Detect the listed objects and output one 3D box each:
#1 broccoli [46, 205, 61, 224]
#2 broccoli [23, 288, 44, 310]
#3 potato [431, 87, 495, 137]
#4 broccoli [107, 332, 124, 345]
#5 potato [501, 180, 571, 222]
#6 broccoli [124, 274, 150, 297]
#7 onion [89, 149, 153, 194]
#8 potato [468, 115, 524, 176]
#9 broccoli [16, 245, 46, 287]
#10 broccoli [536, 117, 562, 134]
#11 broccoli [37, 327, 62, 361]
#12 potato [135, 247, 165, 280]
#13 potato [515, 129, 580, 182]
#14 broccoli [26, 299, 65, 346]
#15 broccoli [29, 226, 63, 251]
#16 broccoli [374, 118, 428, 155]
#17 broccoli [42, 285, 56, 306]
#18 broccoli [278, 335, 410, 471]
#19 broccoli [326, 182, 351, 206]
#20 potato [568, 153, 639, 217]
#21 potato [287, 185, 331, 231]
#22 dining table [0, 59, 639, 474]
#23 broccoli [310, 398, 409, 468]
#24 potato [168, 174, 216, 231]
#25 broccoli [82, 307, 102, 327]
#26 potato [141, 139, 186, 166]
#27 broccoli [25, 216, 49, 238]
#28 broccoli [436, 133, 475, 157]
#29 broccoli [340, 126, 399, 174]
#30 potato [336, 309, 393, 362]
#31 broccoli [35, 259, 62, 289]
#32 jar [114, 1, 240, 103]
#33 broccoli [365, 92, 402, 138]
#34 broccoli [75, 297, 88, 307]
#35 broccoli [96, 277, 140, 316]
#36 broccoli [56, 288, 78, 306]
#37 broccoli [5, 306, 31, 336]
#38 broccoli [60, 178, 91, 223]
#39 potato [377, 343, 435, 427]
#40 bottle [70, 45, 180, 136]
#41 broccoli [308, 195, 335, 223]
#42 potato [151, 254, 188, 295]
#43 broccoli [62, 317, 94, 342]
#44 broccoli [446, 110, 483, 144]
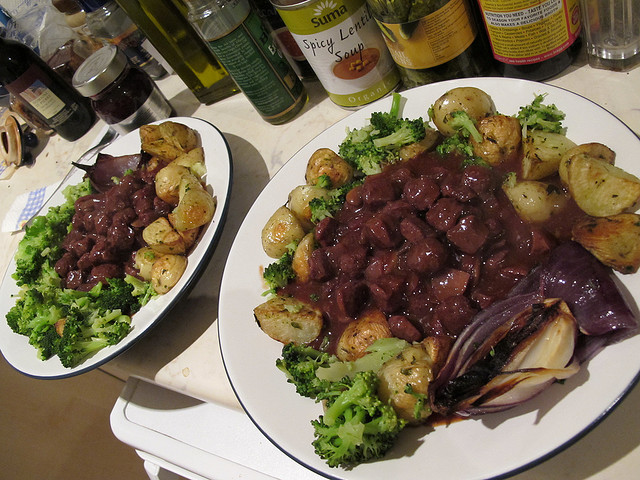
[{"bbox_3d":[-1.415,-0.137,2.827,0.054,0.022,0.094,-3,72,5],"label":"broccoli"},{"bbox_3d":[-1.325,0.272,2.491,0.086,0.026,0.085,31,58,17],"label":"broccoli"},{"bbox_3d":[0.546,-0.505,2.117,0.245,0.205,0.142,-23,97,-16],"label":"potato"},{"bbox_3d":[-0.845,0.405,2.203,0.039,0.015,0.039,-38,25,-2],"label":"broccoli"},{"bbox_3d":[0.741,-0.133,1.830,0.161,0.101,0.135,25,97,-1],"label":"potato"},{"bbox_3d":[-0.810,0.186,2.351,0.093,0.028,0.097,-24,100,4],"label":"broccoli"},{"bbox_3d":[-1.059,-0.419,2.853,0.172,0.249,0.066,-29,78,43],"label":"onion"},{"bbox_3d":[0.665,-0.401,2.019,0.220,0.135,0.178,15,32,29],"label":"potato"},{"bbox_3d":[-1.432,0.132,2.628,0.095,0.166,0.180,-37,48,49],"label":"broccoli"},{"bbox_3d":[0.816,-0.400,1.894,0.068,0.021,0.046,27,91,17],"label":"broccoli"},{"bbox_3d":[-1.173,0.448,2.313,0.104,0.059,0.139,3,82,-11],"label":"broccoli"},{"bbox_3d":[-0.763,0.094,2.449,0.121,0.083,0.157,1,76,21],"label":"potato"},{"bbox_3d":[0.803,-0.312,1.880,0.194,0.073,0.167,-30,65,19],"label":"potato"},{"bbox_3d":[-1.236,0.349,2.392,0.145,0.039,0.152,-11,64,-12],"label":"broccoli"},{"bbox_3d":[-1.393,-0.003,2.745,0.032,0.124,0.128,-30,47,47],"label":"broccoli"},{"bbox_3d":[0.314,-0.378,2.167,0.235,0.112,0.148,7,90,17],"label":"broccoli"},{"bbox_3d":[-1.268,0.254,2.494,0.070,0.030,0.075,-10,52,-6],"label":"broccoli"},{"bbox_3d":[0.079,0.515,1.707,0.312,0.142,0.458,1,60,9],"label":"broccoli"},{"bbox_3d":[0.076,-0.177,2.131,0.084,0.043,0.086,-27,53,5],"label":"broccoli"},{"bbox_3d":[0.911,-0.160,1.745,0.227,0.095,0.144,25,74,29],"label":"potato"},{"bbox_3d":[-0.053,-0.141,2.238,0.190,0.143,0.149,42,101,21],"label":"potato"},{"bbox_3d":[-0.439,-0.107,2.513,3.376,0.633,1.703,3,65,21],"label":"dining table"},{"bbox_3d":[0.135,0.631,1.758,0.247,0.116,0.203,-29,68,9],"label":"broccoli"},{"bbox_3d":[-0.547,-0.147,2.314,0.183,0.105,0.301,0,62,14],"label":"potato"},{"bbox_3d":[-0.994,0.339,2.352,0.060,0.025,0.102,35,88,24],"label":"broccoli"},{"bbox_3d":[-0.769,-0.423,2.607,0.129,0.040,0.137,3,58,7],"label":"potato"},{"bbox_3d":[-1.462,-0.064,2.758,0.090,0.044,0.120,1,62,1],"label":"broccoli"},{"bbox_3d":[0.514,-0.336,2.041,0.095,0.038,0.096,-43,62,7],"label":"broccoli"},{"bbox_3d":[0.208,-0.324,2.235,0.215,0.281,0.103,-8,75,14],"label":"broccoli"},{"bbox_3d":[0.163,0.365,1.900,0.159,0.070,0.178,22,78,43],"label":"potato"},{"bbox_3d":[-1.325,0.162,2.612,0.110,0.039,0.119,-1,62,7],"label":"broccoli"},{"bbox_3d":[-0.741,-0.970,2.755,0.294,0.546,0.291,-14,54,20],"label":"jar"},{"bbox_3d":[0.271,-0.486,2.229,0.145,0.092,0.169,26,80,15],"label":"broccoli"},{"bbox_3d":[-1.072,0.270,2.392,0.033,0.015,0.039,26,48,21],"label":"broccoli"},{"bbox_3d":[-0.880,0.244,2.349,0.146,0.094,0.159,-6,45,-28],"label":"broccoli"},{"bbox_3d":[-1.172,0.256,2.460,0.073,0.076,0.035,26,117,4],"label":"broccoli"},{"bbox_3d":[-1.379,0.369,2.499,0.125,0.052,0.133,19,82,24],"label":"broccoli"},{"bbox_3d":[-1.306,-0.232,2.920,0.203,0.080,0.215,-22,73,0],"label":"broccoli"},{"bbox_3d":[0.289,0.449,1.795,0.220,0.098,0.306,-2,37,9],"label":"potato"},{"bbox_3d":[-1.066,-0.838,2.959,0.348,0.559,0.352,-12,62,24],"label":"bottle"},{"bbox_3d":[-0.003,-0.121,2.166,0.083,0.090,0.094,-1,77,33],"label":"broccoli"},{"bbox_3d":[-0.648,0.142,2.281,0.148,0.058,0.182,10,68,24],"label":"potato"},{"bbox_3d":[-1.037,0.385,2.284,0.102,0.096,0.060,12,105,-19],"label":"broccoli"},{"bbox_3d":[0.554,-0.411,2.040,0.089,0.070,0.138,-35,54,-2],"label":"broccoli"}]
